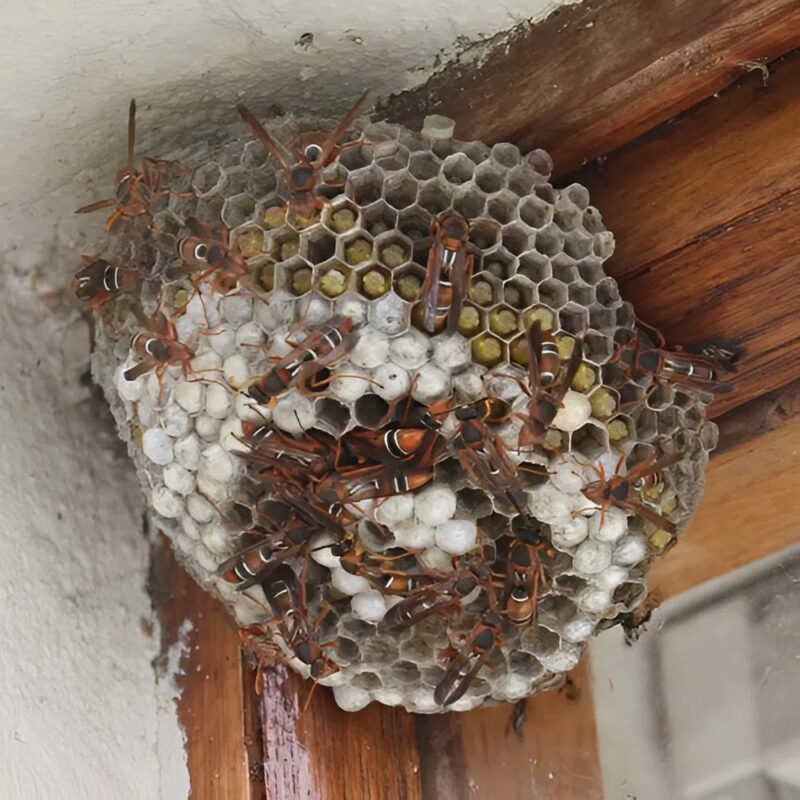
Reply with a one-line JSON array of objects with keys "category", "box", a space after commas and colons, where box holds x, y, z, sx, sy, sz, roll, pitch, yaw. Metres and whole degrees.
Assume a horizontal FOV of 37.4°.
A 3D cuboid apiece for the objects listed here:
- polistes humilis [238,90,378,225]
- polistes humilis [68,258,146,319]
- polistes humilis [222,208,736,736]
[{"category": "polistes humilis", "box": [-0.238, -0.652, 3.378, 0.546, 0.204, 0.324, 1, 85, 13]}, {"category": "polistes humilis", "box": [-0.867, -0.356, 3.596, 0.204, 0.236, 0.076, 18, 91, -6]}, {"category": "polistes humilis", "box": [0.110, 0.196, 3.497, 1.504, 0.753, 1.460, 0, 79, -1]}]
